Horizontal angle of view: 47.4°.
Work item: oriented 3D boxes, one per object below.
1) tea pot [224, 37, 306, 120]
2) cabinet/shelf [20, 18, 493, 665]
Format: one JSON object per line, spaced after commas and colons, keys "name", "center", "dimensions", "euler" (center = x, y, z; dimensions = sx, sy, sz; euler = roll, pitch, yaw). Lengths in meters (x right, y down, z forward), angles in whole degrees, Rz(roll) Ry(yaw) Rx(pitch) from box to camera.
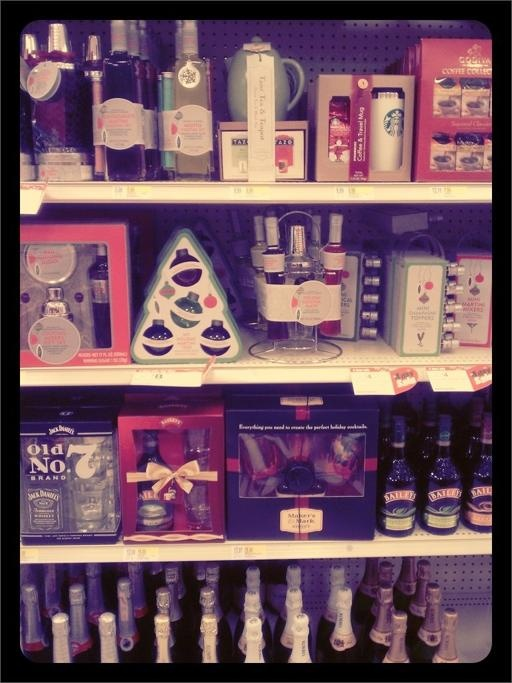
{"name": "tea pot", "center": [0.024, -0.583, 1.325], "dimensions": [0.169, 0.203, 0.139], "euler": [-2, 5, -10]}
{"name": "cabinet/shelf", "center": [-0.008, -0.014, 1.372], "dimensions": [1.369, 1.502, 0.486], "euler": [-1, 10, 0]}
